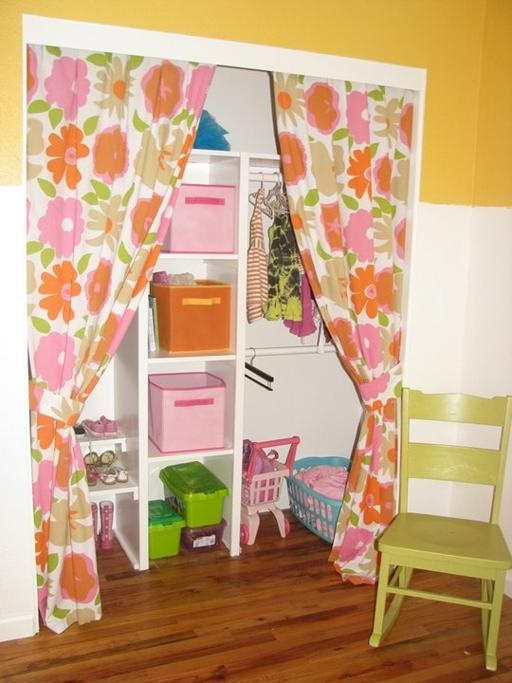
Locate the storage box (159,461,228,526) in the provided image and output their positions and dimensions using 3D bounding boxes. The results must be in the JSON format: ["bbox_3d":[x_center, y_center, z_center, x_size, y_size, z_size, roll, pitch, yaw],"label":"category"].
[{"bbox_3d":[-0.316,0.737,2.669,0.250,0.166,0.424,-3,9,-28],"label":"storage box"}]

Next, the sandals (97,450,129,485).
[{"bbox_3d":[-0.650,0.567,2.438,0.093,0.050,0.157,-1,5,-11],"label":"sandals"}]

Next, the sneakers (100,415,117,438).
[{"bbox_3d":[-0.670,0.397,2.489,0.045,0.050,0.121,-2,10,-19],"label":"sneakers"}]

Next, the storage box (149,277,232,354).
[{"bbox_3d":[-0.311,-0.134,2.525,0.332,0.319,0.330,-2,7,-22],"label":"storage box"}]

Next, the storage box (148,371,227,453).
[{"bbox_3d":[-0.318,0.342,2.589,0.351,0.345,0.341,-3,10,-18],"label":"storage box"}]

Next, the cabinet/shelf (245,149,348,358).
[{"bbox_3d":[0.131,-0.385,2.716,0.391,0.943,0.816,4,5,24],"label":"cabinet/shelf"}]

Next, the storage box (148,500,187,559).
[{"bbox_3d":[-0.412,0.869,2.520,0.144,0.140,0.228,-1,9,-15],"label":"storage box"}]

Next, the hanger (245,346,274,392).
[{"bbox_3d":[0.020,0.162,2.734,0.154,0.247,0.438,2,4,0],"label":"hanger"}]

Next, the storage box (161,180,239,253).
[{"bbox_3d":[-0.223,-0.520,2.305,0.308,0.301,0.305,2,26,4],"label":"storage box"}]

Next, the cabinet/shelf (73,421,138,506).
[{"bbox_3d":[-0.655,0.582,2.522,0.109,0.231,0.336,12,2,20],"label":"cabinet/shelf"}]
